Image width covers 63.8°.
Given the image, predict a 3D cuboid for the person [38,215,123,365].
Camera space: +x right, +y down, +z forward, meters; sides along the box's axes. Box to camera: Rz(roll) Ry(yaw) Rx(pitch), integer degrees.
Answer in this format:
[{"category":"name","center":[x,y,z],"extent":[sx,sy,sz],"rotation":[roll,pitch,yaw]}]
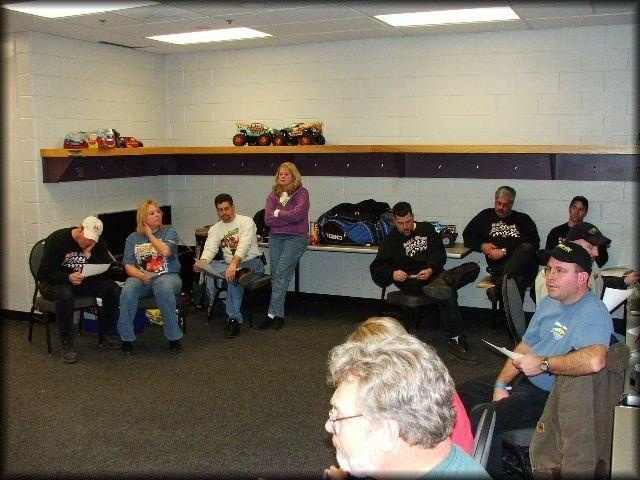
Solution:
[{"category":"person","center":[-2.449,0.464,5.249],"extent":[0.735,1.358,0.707],"rotation":[-6,13,-27]}]

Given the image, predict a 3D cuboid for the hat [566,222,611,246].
[{"category":"hat","center":[2.107,-0.051,4.072],"extent":[0.357,0.155,0.244],"rotation":[3,7,24]}]

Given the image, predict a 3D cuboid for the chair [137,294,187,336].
[{"category":"chair","center":[-1.808,0.839,5.849],"extent":[0.670,0.514,0.474],"rotation":[1,-1,11]}]

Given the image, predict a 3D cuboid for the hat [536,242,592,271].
[{"category":"hat","center":[1.327,0.079,2.764],"extent":[0.270,0.123,0.182],"rotation":[23,4,4]}]

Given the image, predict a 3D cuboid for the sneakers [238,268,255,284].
[{"category":"sneakers","center":[-0.863,0.422,5.853],"extent":[0.121,0.175,0.214],"rotation":[7,13,34]}]

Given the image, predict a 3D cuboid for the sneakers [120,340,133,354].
[{"category":"sneakers","center":[-1.966,1.090,5.237],"extent":[0.098,0.122,0.122],"rotation":[-3,11,-15]}]

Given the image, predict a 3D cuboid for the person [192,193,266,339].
[{"category":"person","center":[-1.072,0.244,5.988],"extent":[0.733,1.545,0.860],"rotation":[1,11,7]}]

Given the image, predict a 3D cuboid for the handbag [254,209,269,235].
[{"category":"handbag","center":[-0.781,-0.236,6.773],"extent":[0.127,0.301,0.244],"rotation":[11,-3,-42]}]

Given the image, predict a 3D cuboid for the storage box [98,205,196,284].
[{"category":"storage box","center":[-2.065,0.067,5.989],"extent":[1.219,0.980,0.462],"rotation":[-6,5,-45]}]

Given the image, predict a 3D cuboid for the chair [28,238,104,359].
[{"category":"chair","center":[-2.691,0.566,5.474],"extent":[0.612,1.015,0.689],"rotation":[4,5,41]}]

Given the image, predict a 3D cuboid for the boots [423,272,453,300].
[{"category":"boots","center":[1.191,0.500,5.232],"extent":[0.287,0.233,0.298],"rotation":[2,11,11]}]

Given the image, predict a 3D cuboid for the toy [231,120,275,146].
[{"category":"toy","center":[-0.874,-1.387,6.722],"extent":[0.564,0.281,0.281],"rotation":[-1,15,6]}]

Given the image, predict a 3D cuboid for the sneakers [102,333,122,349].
[{"category":"sneakers","center":[-2.195,1.076,5.450],"extent":[0.269,0.096,0.111],"rotation":[4,5,31]}]

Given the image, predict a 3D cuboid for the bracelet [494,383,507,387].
[{"category":"bracelet","center":[0.996,0.801,2.829],"extent":[0.037,0.012,0.035],"rotation":[0,-1,-42]}]

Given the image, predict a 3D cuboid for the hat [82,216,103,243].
[{"category":"hat","center":[-2.333,-0.115,5.284],"extent":[0.190,0.157,0.272],"rotation":[17,28,-51]}]

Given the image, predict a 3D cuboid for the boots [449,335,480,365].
[{"category":"boots","center":[1.477,1.079,5.040],"extent":[0.155,0.191,0.370],"rotation":[-7,8,-39]}]

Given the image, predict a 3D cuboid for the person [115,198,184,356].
[{"category":"person","center":[-1.800,0.370,5.388],"extent":[0.640,1.518,0.765],"rotation":[-3,12,-14]}]

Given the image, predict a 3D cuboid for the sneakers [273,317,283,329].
[{"category":"sneakers","center":[-0.488,0.955,5.976],"extent":[0.115,0.110,0.208],"rotation":[1,10,6]}]

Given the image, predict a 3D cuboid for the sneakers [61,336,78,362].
[{"category":"sneakers","center":[-2.477,1.081,5.056],"extent":[0.139,0.205,0.261],"rotation":[-6,12,-26]}]

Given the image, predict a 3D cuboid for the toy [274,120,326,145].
[{"category":"toy","center":[-0.259,-1.372,6.578],"extent":[0.607,0.234,0.321],"rotation":[0,11,8]}]

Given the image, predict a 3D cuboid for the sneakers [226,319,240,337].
[{"category":"sneakers","center":[-0.971,0.977,5.741],"extent":[0.154,0.162,0.222],"rotation":[-2,11,-7]}]

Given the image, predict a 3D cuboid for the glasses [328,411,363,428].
[{"category":"glasses","center":[0.065,0.517,1.464],"extent":[0.073,0.018,0.064],"rotation":[1,-1,2]}]

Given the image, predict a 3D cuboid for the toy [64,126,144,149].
[{"category":"toy","center":[-2.683,-1.207,6.190],"extent":[0.404,0.134,0.495],"rotation":[0,2,25]}]
